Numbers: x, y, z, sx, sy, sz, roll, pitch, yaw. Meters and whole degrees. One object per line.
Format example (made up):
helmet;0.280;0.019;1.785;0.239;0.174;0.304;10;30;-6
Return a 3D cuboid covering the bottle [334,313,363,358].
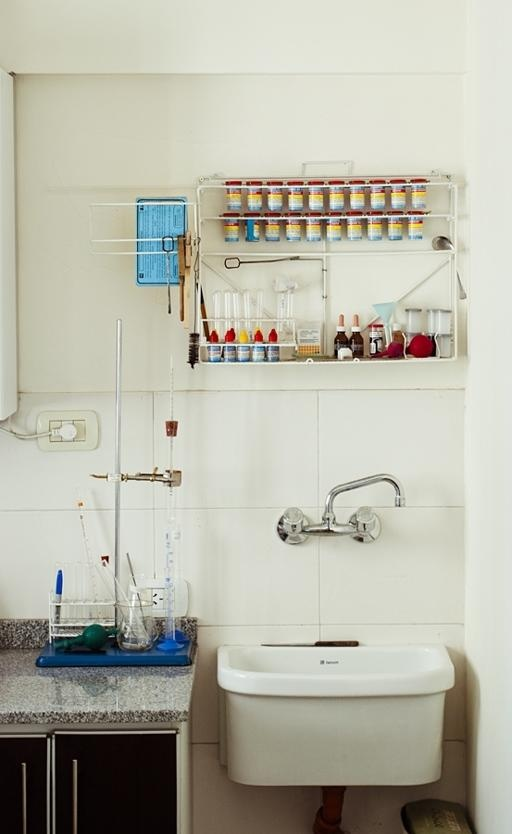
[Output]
bottle;0.245;-0.213;2.332;0.080;0.118;0.167;-2;4;7

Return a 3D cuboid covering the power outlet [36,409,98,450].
power outlet;-0.514;0.040;2.391;0.139;0.108;0.043;0;3;-4

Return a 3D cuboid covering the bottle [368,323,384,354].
bottle;0.316;-0.197;2.307;0.034;0.083;0.081;-2;4;10

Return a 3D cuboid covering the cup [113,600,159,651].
cup;-0.298;0.525;2.280;0.114;0.180;0.115;0;-3;0

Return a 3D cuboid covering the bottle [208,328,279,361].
bottle;-0.035;-0.183;2.287;0.184;0.089;0.128;-3;4;-3
